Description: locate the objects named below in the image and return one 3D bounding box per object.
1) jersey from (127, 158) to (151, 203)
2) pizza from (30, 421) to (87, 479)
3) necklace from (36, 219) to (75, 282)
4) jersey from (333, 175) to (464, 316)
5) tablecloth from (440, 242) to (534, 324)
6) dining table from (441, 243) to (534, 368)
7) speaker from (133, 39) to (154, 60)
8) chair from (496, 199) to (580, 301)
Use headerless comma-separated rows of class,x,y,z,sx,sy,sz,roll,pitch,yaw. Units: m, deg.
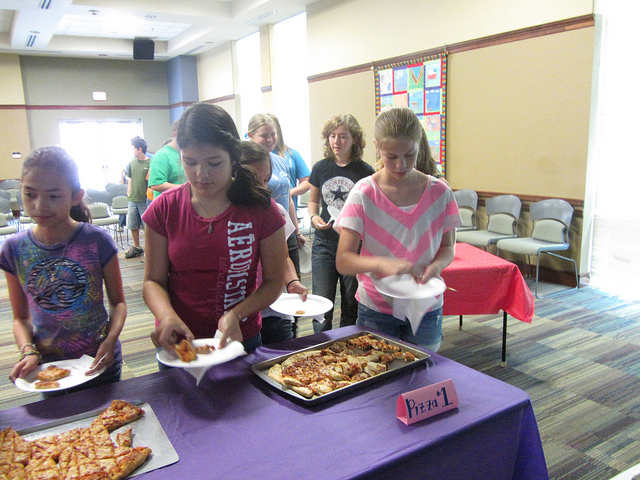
jersey,-2.603,-0.865,6.531,0.448,0.681,0.215,4,0,9
pizza,-0.759,0.604,1.298,0.116,0.018,0.085,29,23,31
necklace,-1.028,0.044,1.781,0.139,0.213,0.093,-11,16,-32
jersey,0.346,0.020,1.995,0.557,0.602,0.314,-10,16,-30
tablecloth,1.151,0.316,3.246,0.676,0.279,0.690,-2,12,-13
dining table,1.158,0.379,3.252,0.718,0.482,0.848,4,5,44
speaker,-4.368,-4.748,11.164,0.507,0.458,0.430,-7,14,-19
chair,2.348,0.059,4.967,0.669,0.975,0.721,-5,11,-8
